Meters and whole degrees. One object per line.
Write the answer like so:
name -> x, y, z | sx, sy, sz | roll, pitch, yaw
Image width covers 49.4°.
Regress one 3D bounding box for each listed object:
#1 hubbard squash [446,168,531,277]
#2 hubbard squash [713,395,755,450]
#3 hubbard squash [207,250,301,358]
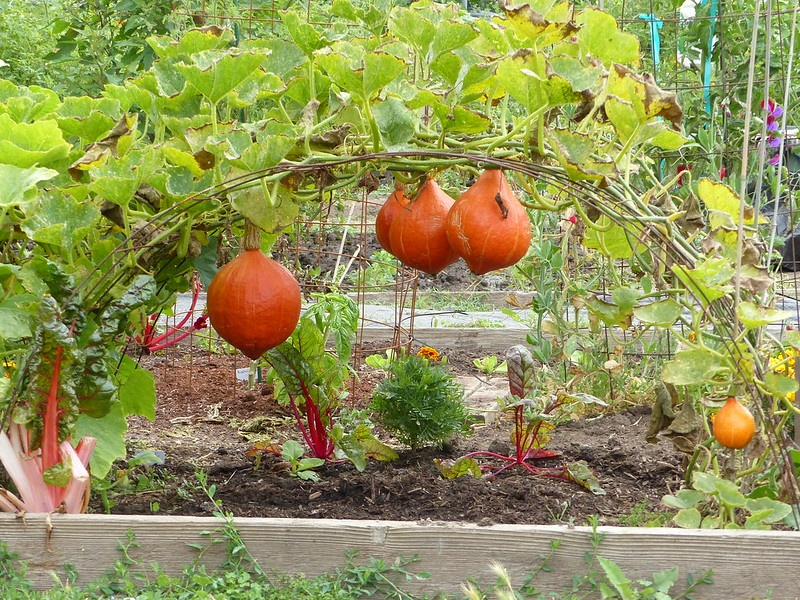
hubbard squash -> 0.246, -0.216, 2.433 | 0.236, 0.312, 0.243 | -2, 11, -43
hubbard squash -> 0.950, 0.351, 2.494 | 0.124, 0.158, 0.122 | 1, 3, 13
hubbard squash -> -0.398, 0.003, 2.500 | 0.270, 0.289, 0.263 | 3, 5, 2
